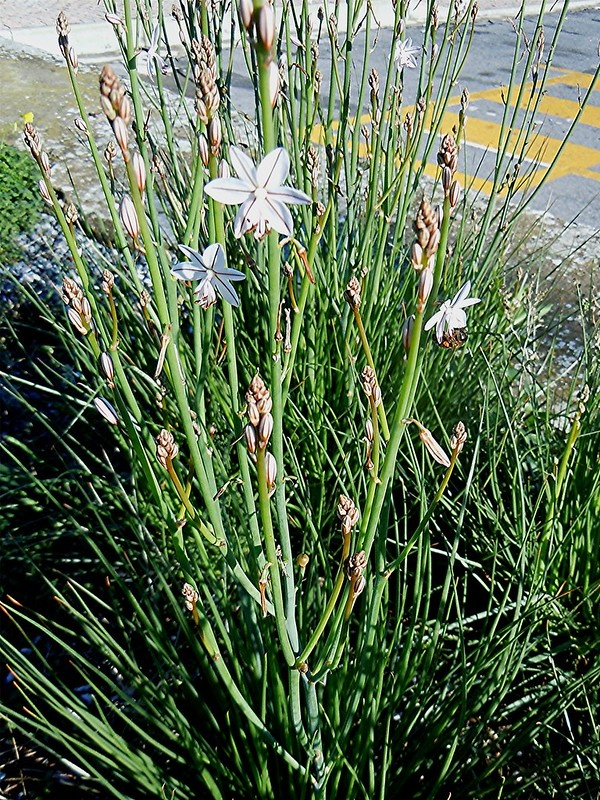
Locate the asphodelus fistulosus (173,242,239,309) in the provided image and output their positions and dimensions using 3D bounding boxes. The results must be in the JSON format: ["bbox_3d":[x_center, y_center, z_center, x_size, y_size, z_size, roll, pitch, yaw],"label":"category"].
[{"bbox_3d":[-0.115,-0.168,1.003,0.066,0.049,0.100,13,-10,20],"label":"asphodelus fistulosus"}]
